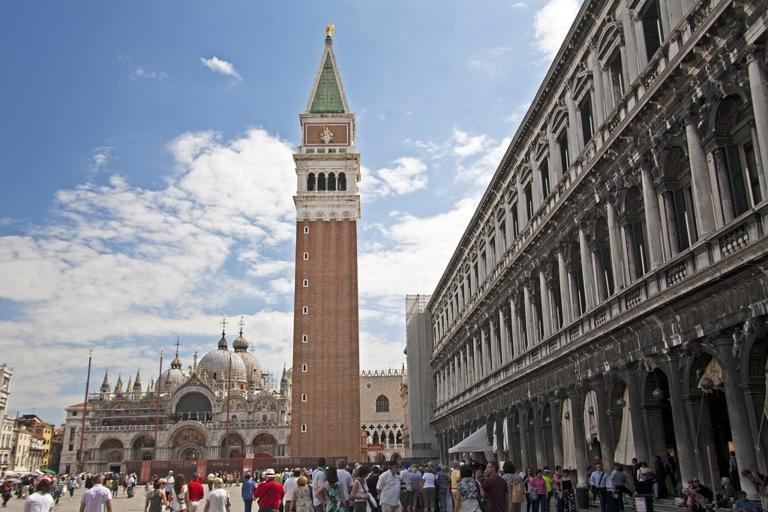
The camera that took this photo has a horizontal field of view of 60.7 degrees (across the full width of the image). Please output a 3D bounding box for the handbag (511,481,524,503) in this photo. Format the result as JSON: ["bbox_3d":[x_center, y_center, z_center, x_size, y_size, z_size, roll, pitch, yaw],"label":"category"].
[{"bbox_3d":[4.369,7.788,21.645,0.363,0.771,0.822,-7,-11,5],"label":"handbag"}]
